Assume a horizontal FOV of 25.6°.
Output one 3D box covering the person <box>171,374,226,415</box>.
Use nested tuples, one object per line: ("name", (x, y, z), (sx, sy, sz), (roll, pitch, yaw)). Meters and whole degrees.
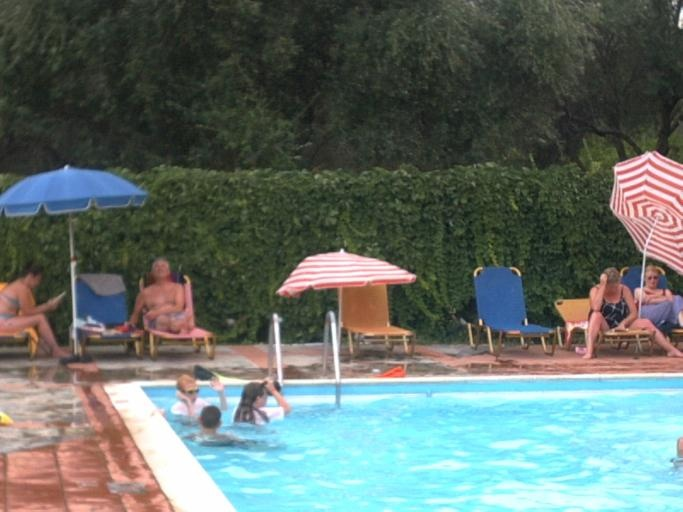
("person", (-2.634, 2.567, 27.248), (0.873, 0.764, 1.284), (-2, 13, -23))
